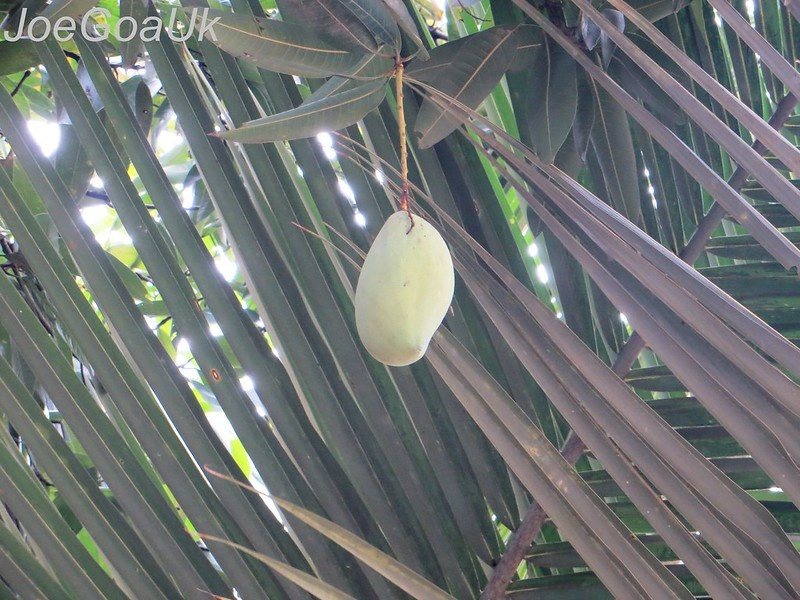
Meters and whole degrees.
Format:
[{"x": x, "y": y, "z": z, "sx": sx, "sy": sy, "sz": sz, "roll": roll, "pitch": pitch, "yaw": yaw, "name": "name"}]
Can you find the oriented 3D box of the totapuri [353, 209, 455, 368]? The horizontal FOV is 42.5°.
[{"x": 0.007, "y": -0.011, "z": 1.180, "sx": 0.104, "sy": 0.187, "sz": 0.109, "roll": 7, "pitch": -29, "yaw": 8, "name": "totapuri"}]
